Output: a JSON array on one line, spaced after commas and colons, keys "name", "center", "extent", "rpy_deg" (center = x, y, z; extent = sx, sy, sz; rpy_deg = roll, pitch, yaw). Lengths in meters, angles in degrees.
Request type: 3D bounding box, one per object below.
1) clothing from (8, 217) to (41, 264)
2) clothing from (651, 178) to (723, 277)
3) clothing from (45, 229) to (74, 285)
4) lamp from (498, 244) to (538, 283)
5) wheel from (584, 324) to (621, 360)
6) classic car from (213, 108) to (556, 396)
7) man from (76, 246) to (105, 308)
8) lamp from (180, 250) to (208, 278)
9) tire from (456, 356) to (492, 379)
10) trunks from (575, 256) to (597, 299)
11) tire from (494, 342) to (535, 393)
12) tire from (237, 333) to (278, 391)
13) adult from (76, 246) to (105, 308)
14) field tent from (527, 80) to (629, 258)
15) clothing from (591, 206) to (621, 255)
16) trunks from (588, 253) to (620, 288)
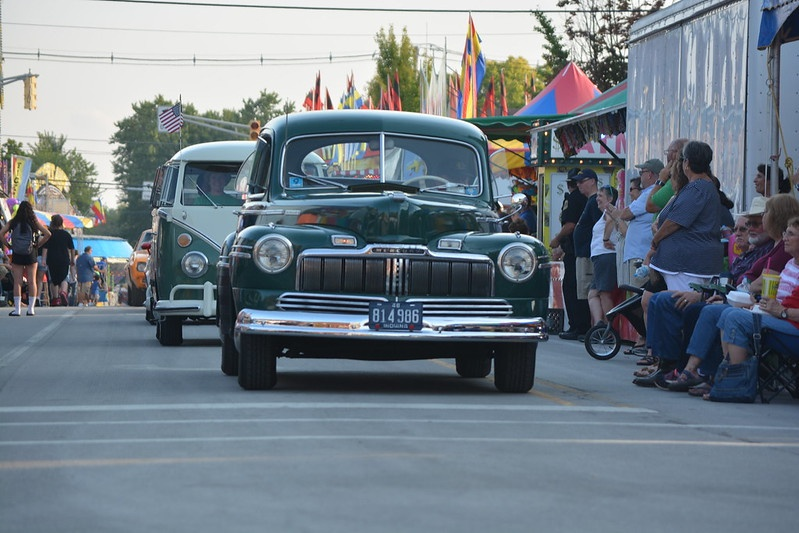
[{"name": "clothing", "center": [-8.501, -0.528, 23.402], "extent": [0.559, 0.996, 0.471], "rpy_deg": [-1, 4, -25]}, {"name": "clothing", "center": [3.282, -0.515, 11.632], "extent": [0.713, 1.091, 0.941], "rpy_deg": [8, 8, 26]}, {"name": "clothing", "center": [-8.861, -0.337, 26.873], "extent": [0.765, 2.052, 0.564], "rpy_deg": [2, 26, -13]}, {"name": "lamp", "center": [1.203, -0.034, 10.474], "extent": [0.360, 0.373, 0.361], "rpy_deg": [14, 25, 31]}, {"name": "wheel", "center": [2.885, 1.061, 14.635], "extent": [0.586, 0.624, 0.459], "rpy_deg": [6, -6, 2]}, {"name": "classic car", "center": [-0.187, -0.234, 11.047], "extent": [3.373, 3.027, 2.427], "rpy_deg": [0, 3, -2]}, {"name": "man", "center": [-11.350, 0.345, 37.577], "extent": [0.830, 2.199, 0.753], "rpy_deg": [1, -4, 19]}, {"name": "lamp", "center": [-3.056, -0.032, 15.396], "extent": [0.380, 0.392, 0.113], "rpy_deg": [1, 3, 8]}, {"name": "tire", "center": [0.881, 1.191, 12.147], "extent": [0.333, 0.458, 0.478], "rpy_deg": [3, -2, -3]}, {"name": "trunks", "center": [3.019, 0.161, 16.658], "extent": [0.325, 0.888, 0.666], "rpy_deg": [1, 0, 1]}, {"name": "tire", "center": [1.185, 1.010, 10.578], "extent": [0.180, 0.529, 0.513], "rpy_deg": [1, 3, -3]}, {"name": "tire", "center": [-1.426, 0.958, 10.407], "extent": [0.387, 0.608, 0.361], "rpy_deg": [0, 3, -9]}, {"name": "adult", "center": [-11.326, 0.340, 37.582], "extent": [0.845, 2.180, 0.769], "rpy_deg": [1, -2, 22]}, {"name": "field tent", "center": [3.737, -2.523, 23.654], "extent": [2.982, 3.440, 3.302], "rpy_deg": [-1, 15, 16]}, {"name": "clothing", "center": [3.214, -0.590, 16.048], "extent": [0.513, 0.999, 0.738], "rpy_deg": [1, 3, 4]}, {"name": "trunks", "center": [3.179, 0.036, 15.904], "extent": [0.359, 0.595, 0.620], "rpy_deg": [-2, 7, 25]}]
